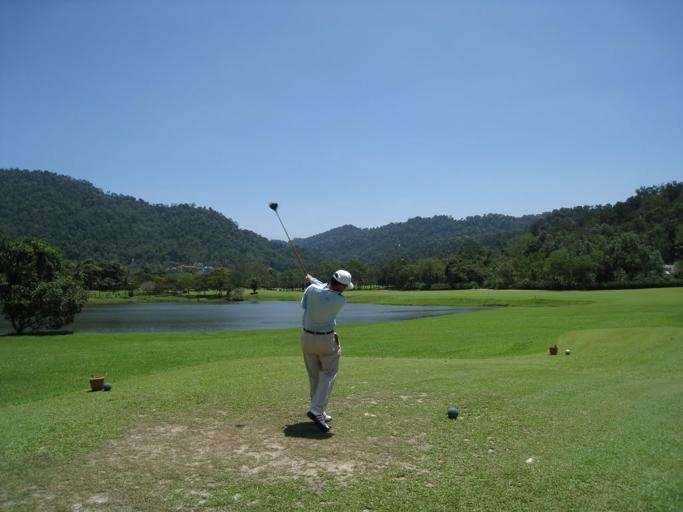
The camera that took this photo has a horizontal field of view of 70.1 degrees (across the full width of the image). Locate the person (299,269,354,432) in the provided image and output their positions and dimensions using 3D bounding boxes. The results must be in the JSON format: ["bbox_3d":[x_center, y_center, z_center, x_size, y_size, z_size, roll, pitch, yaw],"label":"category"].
[{"bbox_3d":[-0.355,1.831,9.793,0.916,3.096,1.029,0,-1,-4],"label":"person"}]

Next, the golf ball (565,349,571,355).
[{"bbox_3d":[8.524,3.605,18.332,0.183,0.186,0.185,-1,3,0],"label":"golf ball"}]
